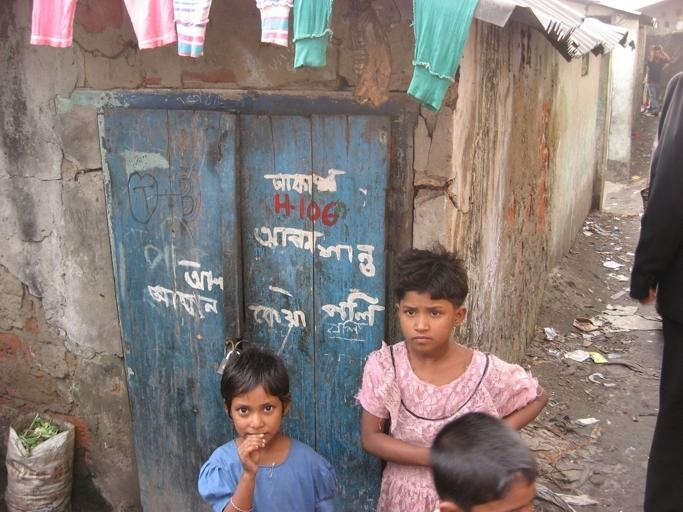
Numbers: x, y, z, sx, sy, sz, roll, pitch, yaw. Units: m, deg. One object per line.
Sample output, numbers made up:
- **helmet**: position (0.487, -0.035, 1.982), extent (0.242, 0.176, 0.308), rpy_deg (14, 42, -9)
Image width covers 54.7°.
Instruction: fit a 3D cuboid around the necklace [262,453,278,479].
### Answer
- **necklace**: position (-0.363, 1.043, 3.254), extent (0.072, 0.122, 0.027), rpy_deg (-4, -1, -6)
